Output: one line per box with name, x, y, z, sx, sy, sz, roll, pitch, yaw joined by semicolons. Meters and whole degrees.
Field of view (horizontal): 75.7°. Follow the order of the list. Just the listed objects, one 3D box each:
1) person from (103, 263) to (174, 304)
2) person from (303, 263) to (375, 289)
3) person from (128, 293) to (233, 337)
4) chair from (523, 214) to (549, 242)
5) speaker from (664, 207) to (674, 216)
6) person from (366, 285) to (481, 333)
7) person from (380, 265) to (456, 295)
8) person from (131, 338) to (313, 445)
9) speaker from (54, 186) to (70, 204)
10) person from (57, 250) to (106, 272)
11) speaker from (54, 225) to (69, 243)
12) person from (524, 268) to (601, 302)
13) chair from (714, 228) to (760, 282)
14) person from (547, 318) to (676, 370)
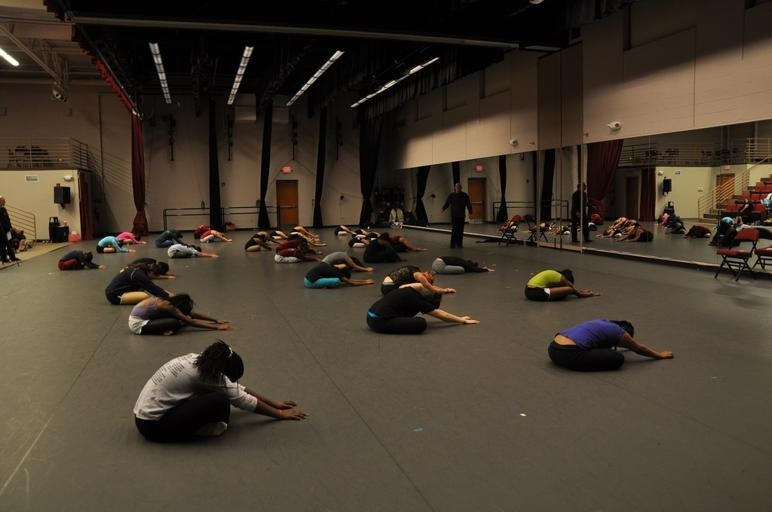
person;-3.945;0.435;8.136;1.095;0.629;0.743;0;16;-25
person;-0.937;0.403;9.167;0.853;0.313;0.628;0;0;-21
person;-2.816;0.785;6.562;1.081;0.445;0.626;2;0;-14
chair;4.440;-0.790;14.624;0.719;0.930;0.727;-5;4;39
speaker;8.179;-1.295;14.330;0.172;0.176;0.322;-1;2;13
person;0.433;0.639;6.633;1.383;0.500;0.922;-6;16;-19
person;0.498;0.320;6.966;0.833;0.330;0.579;5;0;-7
person;-1.413;1.129;4.283;1.308;0.698;0.763;1;-1;-28
speaker;-12.140;-2.320;18.689;0.564;0.647;0.269;-9;14;-32
person;-7.255;0.130;11.795;0.852;0.390;0.617;1;1;-21
speaker;-12.228;-0.839;18.693;0.349;0.640;0.679;0;3;-2
person;2.648;0.474;7.801;0.881;0.350;0.592;-2;1;-11
chair;6.126;-0.075;8.673;0.622;0.808;0.455;-7;8;-18
person;2.240;0.922;5.101;0.924;0.334;0.625;-4;-1;-13
